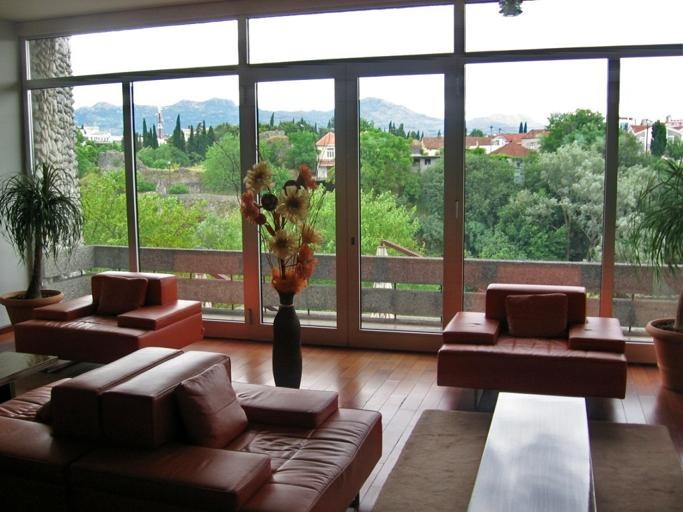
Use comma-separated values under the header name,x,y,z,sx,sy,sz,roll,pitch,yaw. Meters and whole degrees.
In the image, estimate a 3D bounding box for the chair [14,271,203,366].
name,x,y,z,sx,sy,sz,roll,pitch,yaw
chair,-2.347,0.319,5.957,1.326,0.752,1.050,1,3,19

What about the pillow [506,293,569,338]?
name,x,y,z,sx,sy,sz,roll,pitch,yaw
pillow,1.781,0.529,5.163,0.447,0.430,0.137,1,-11,13

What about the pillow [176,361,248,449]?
name,x,y,z,sx,sy,sz,roll,pitch,yaw
pillow,-0.777,0.876,3.311,0.203,0.363,0.431,0,5,20

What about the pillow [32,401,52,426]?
name,x,y,z,sx,sy,sz,roll,pitch,yaw
pillow,-1.816,0.942,3.439,0.126,0.125,0.114,-4,-6,32
